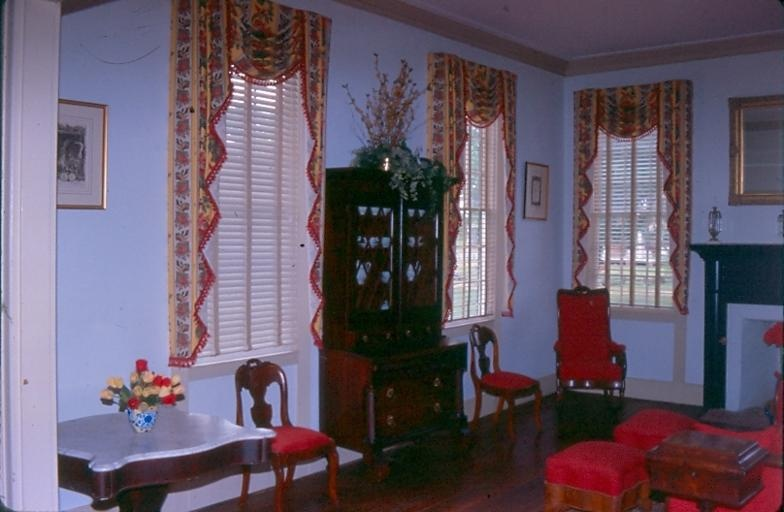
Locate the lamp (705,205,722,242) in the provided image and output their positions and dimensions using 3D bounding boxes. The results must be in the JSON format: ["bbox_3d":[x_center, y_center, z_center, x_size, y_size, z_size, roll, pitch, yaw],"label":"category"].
[{"bbox_3d":[3.752,-0.384,7.592,0.161,0.399,0.274,4,8,26],"label":"lamp"}]

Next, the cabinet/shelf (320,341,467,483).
[{"bbox_3d":[0.031,1.367,6.156,0.755,0.949,1.289,-2,-1,42],"label":"cabinet/shelf"}]

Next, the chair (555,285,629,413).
[{"bbox_3d":[2.237,1.007,7.536,0.938,1.308,0.926,-1,-2,-27],"label":"chair"}]

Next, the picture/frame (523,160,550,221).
[{"bbox_3d":[1.785,-0.830,8.127,0.056,0.857,0.706,-6,-9,40],"label":"picture/frame"}]

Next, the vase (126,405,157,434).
[{"bbox_3d":[-1.666,1.089,4.330,0.172,0.134,0.174,1,-7,-9],"label":"vase"}]

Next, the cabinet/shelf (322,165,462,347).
[{"bbox_3d":[-0.076,0.044,5.911,1.106,1.668,0.551,0,7,-6],"label":"cabinet/shelf"}]

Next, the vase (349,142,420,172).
[{"bbox_3d":[-0.084,-0.907,5.929,0.420,0.187,0.329,6,9,42],"label":"vase"}]

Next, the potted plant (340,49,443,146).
[{"bbox_3d":[-0.050,-1.511,6.479,1.034,1.214,0.857,-1,5,-17],"label":"potted plant"}]

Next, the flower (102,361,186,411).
[{"bbox_3d":[-1.724,0.921,4.525,0.416,0.364,0.417,-3,6,-7],"label":"flower"}]

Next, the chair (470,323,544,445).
[{"bbox_3d":[1.176,1.292,6.954,0.601,1.080,0.729,-3,2,-38],"label":"chair"}]
